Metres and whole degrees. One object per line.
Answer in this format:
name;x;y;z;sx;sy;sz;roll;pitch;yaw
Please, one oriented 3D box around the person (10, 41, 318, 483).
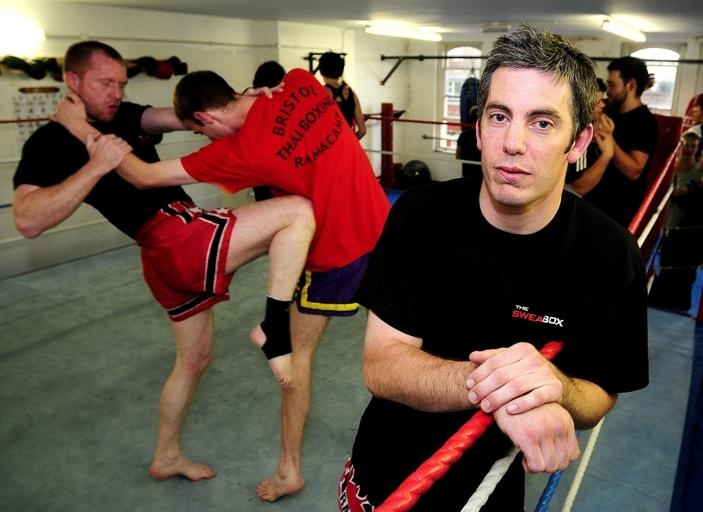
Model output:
person;-0.852;0.107;2.617;1.330;2.222;0.755;7;25;19
